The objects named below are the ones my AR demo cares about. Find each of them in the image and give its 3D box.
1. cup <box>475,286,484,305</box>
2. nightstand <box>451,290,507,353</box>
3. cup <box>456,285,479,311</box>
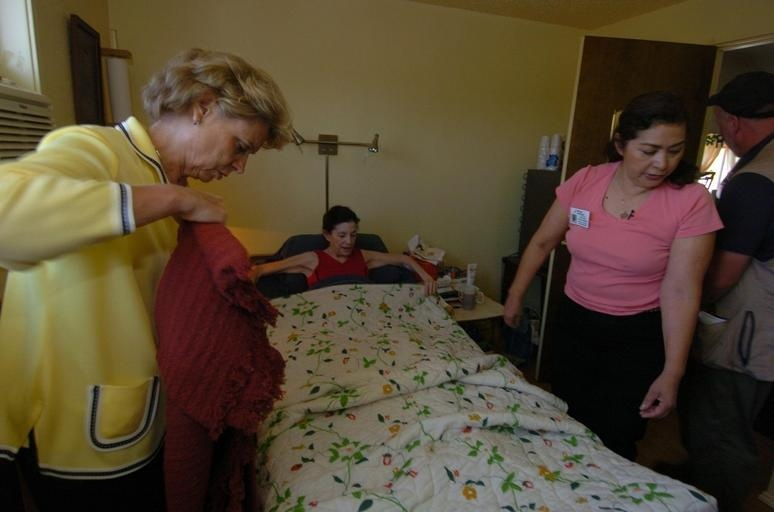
[{"bbox_3d":[0.616,0.264,3.589,0.081,0.114,0.113,-2,4,-15],"label":"cup"},{"bbox_3d":[0.571,0.416,3.354,0.329,0.328,0.329,-11,27,-22],"label":"nightstand"},{"bbox_3d":[0.489,0.263,3.409,0.097,0.159,0.157,0,4,-8],"label":"cup"}]
